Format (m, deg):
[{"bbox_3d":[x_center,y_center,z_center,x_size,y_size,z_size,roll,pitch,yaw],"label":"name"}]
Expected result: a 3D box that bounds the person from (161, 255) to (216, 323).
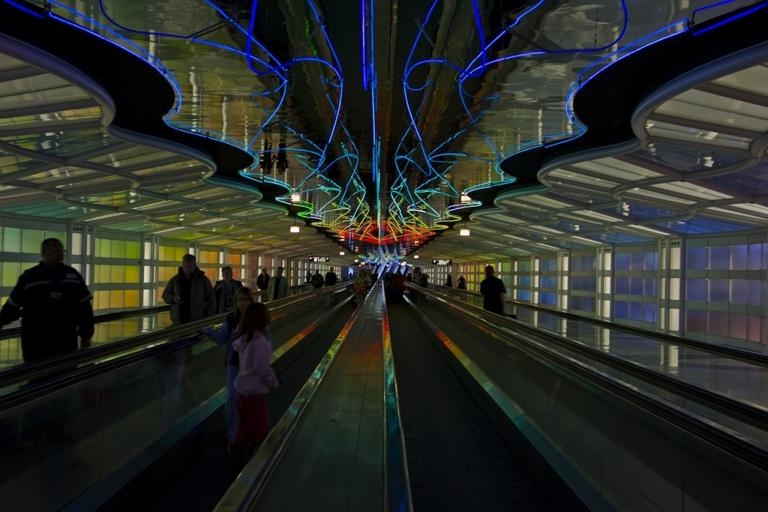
[{"bbox_3d":[-3.839,0.796,9.818,0.986,1.462,0.507,16,-3,-15],"label":"person"}]
